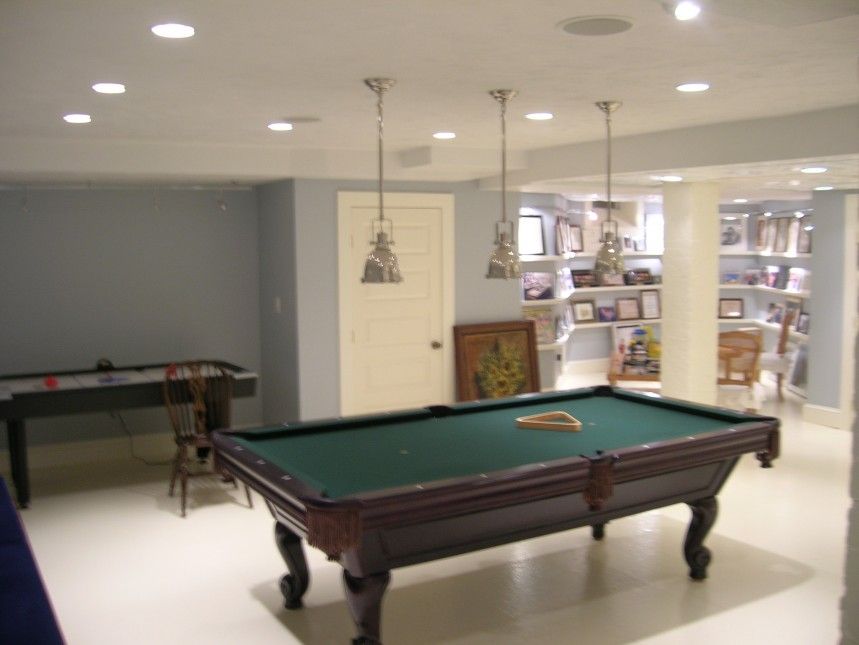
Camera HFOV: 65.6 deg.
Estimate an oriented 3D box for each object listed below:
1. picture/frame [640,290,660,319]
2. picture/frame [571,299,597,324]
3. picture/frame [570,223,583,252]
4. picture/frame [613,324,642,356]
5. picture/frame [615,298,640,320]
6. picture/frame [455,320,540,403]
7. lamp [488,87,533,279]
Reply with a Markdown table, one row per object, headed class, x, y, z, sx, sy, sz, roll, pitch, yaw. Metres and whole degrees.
| class | x | y | z | sx | sy | sz | roll | pitch | yaw |
| --- | --- | --- | --- | --- | --- | --- | --- | --- | --- |
| picture/frame | 3.254 | -0.263 | 9.903 | 0.440 | 0.557 | 0.045 | -2 | 2 | -18 |
| picture/frame | 2.188 | -0.147 | 9.537 | 0.362 | 0.351 | 0.036 | -3 | 1 | -27 |
| picture/frame | 2.055 | -1.190 | 9.370 | 0.033 | 0.420 | 0.395 | -1 | 11 | 37 |
| picture/frame | 2.676 | 0.244 | 9.061 | 0.470 | 0.409 | 0.148 | -1 | 1 | -20 |
| picture/frame | 2.903 | -0.199 | 9.845 | 0.345 | 0.273 | 0.048 | -1 | -2 | -17 |
| picture/frame | 0.623 | 0.380 | 6.545 | 0.827 | 0.769 | 0.059 | -5 | 0 | -22 |
| lamp | 0.429 | -0.751 | 3.792 | 0.263 | 1.063 | 0.246 | 7 | 15 | 32 |
